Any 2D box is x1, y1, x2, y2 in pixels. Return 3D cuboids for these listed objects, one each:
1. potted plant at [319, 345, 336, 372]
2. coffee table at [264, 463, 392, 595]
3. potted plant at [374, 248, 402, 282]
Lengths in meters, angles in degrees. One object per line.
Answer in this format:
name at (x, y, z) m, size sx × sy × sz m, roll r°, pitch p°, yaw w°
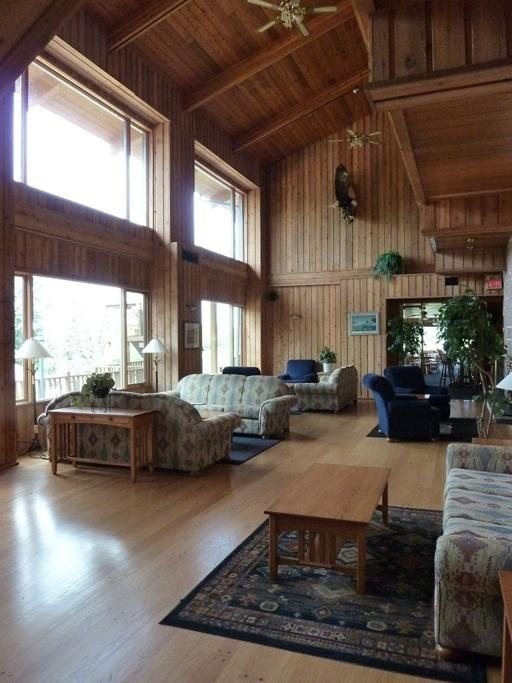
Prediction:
potted plant at (1.490, 0.362, 11.175) m, size 0.413 × 0.623 × 0.443 m, roll -1°, pitch 3°, yaw -10°
coffee table at (0.356, 1.081, 2.898) m, size 0.421 × 0.300 × 0.785 m, roll 0°, pitch 6°, yaw 15°
potted plant at (2.716, -1.570, 11.015) m, size 0.552 × 0.610 × 0.542 m, roll 1°, pitch 3°, yaw 28°
